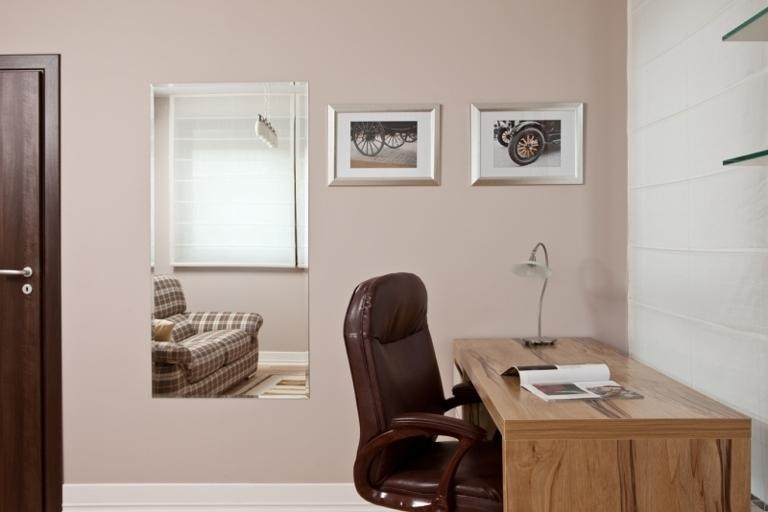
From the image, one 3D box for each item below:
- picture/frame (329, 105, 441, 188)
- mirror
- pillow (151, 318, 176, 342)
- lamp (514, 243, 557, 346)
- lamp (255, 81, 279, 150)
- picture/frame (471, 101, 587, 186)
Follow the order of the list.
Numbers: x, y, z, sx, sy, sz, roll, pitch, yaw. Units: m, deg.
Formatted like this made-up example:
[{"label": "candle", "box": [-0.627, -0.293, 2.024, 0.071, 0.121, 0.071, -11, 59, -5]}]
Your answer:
[{"label": "picture/frame", "box": [0.005, -0.709, 3.623, 0.531, 0.366, 0.023, 0, 0, 0]}, {"label": "mirror", "box": [-0.882, -0.068, 3.645, 1.149, 2.096, 0.036, 0, 1, 23]}, {"label": "pillow", "box": [-1.377, 0.465, 3.651, 0.142, 0.092, 0.048, 5, -23, 9]}, {"label": "lamp", "box": [0.905, 0.216, 3.537, 0.247, 0.594, 0.394, 2, 14, 16]}, {"label": "lamp", "box": [-0.737, -0.873, 3.605, 0.119, 0.390, 0.115, -11, 16, -33]}, {"label": "picture/frame", "box": [0.882, -0.716, 3.611, 0.549, 0.366, 0.021, 0, 4, 2]}]
